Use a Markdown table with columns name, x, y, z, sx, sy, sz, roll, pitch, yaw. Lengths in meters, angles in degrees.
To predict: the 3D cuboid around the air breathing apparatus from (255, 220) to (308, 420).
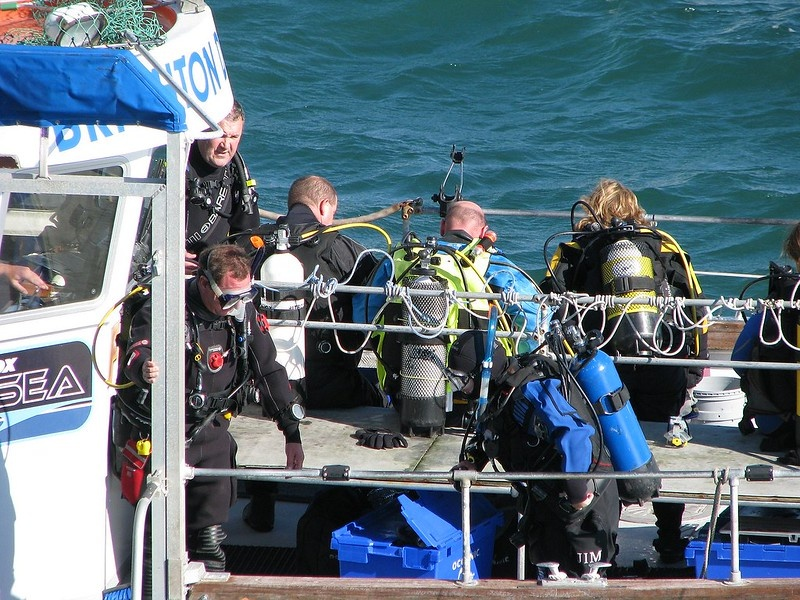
| name | x | y | z | sx | sy | sz | roll | pitch | yaw |
| --- | --- | --- | --- | --- | --- | --- | --- | --- | --- |
| air breathing apparatus | -0.832 | 0.230 | 16.233 | 0.470 | 1.535 | 0.375 | -5 | 1 | 2 |

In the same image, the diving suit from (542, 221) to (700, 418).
| name | x | y | z | sx | sy | sz | roll | pitch | yaw |
| --- | --- | --- | --- | --- | --- | --- | --- | --- | --- |
| diving suit | 2.211 | 0.131 | 16.907 | 1.590 | 1.725 | 0.725 | -18 | 11 | 4 |

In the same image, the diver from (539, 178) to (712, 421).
| name | x | y | z | sx | sy | sz | roll | pitch | yaw |
| --- | --- | --- | --- | --- | --- | --- | --- | --- | --- |
| diver | 2.000 | 0.080 | 16.741 | 1.561 | 2.393 | 0.929 | 4 | -30 | -12 |

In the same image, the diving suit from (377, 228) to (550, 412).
| name | x | y | z | sx | sy | sz | roll | pitch | yaw |
| --- | --- | --- | --- | --- | --- | --- | --- | --- | --- |
| diving suit | 0.449 | 0.113 | 16.375 | 1.875 | 1.474 | 0.926 | 6 | 11 | 7 |

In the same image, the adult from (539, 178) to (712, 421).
| name | x | y | z | sx | sy | sz | roll | pitch | yaw |
| --- | --- | --- | --- | --- | --- | --- | --- | --- | --- |
| adult | 2.008 | 0.225 | 16.711 | 1.717 | 2.620 | 0.985 | 1 | -36 | -3 |

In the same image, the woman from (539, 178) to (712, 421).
| name | x | y | z | sx | sy | sz | roll | pitch | yaw |
| --- | --- | --- | --- | --- | --- | --- | --- | --- | --- |
| woman | 2.127 | -0.037 | 17.002 | 1.463 | 2.207 | 0.952 | -13 | -16 | 3 |

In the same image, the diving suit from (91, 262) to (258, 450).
| name | x | y | z | sx | sy | sz | roll | pitch | yaw |
| --- | --- | --- | --- | --- | --- | --- | --- | --- | --- |
| diving suit | -1.852 | 0.424 | 15.022 | 1.489 | 1.597 | 0.935 | -2 | 36 | -36 |
